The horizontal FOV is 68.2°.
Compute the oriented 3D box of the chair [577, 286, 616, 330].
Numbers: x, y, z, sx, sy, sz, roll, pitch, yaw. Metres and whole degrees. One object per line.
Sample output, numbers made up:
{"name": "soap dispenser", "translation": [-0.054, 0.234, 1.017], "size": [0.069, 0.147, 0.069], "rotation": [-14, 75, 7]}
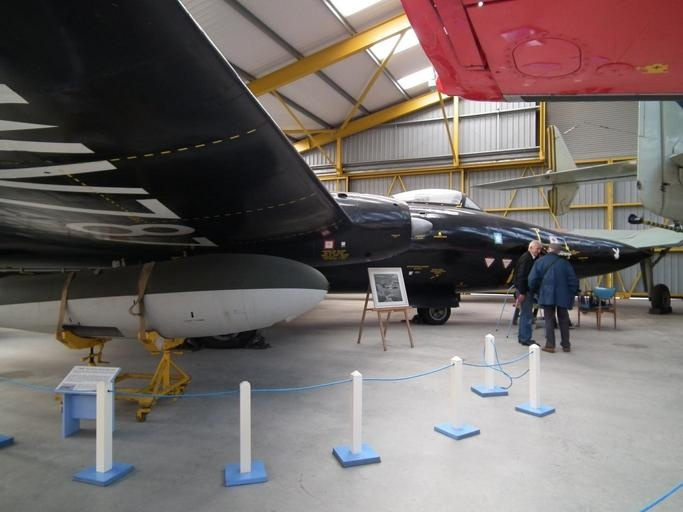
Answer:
{"name": "chair", "translation": [4.739, 0.959, 9.407], "size": [0.712, 0.680, 0.736], "rotation": [-4, -9, 25]}

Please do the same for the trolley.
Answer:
{"name": "trolley", "translation": [-2.064, 1.183, 5.215], "size": [1.376, 0.689, 0.930], "rotation": [2, -2, 12]}
